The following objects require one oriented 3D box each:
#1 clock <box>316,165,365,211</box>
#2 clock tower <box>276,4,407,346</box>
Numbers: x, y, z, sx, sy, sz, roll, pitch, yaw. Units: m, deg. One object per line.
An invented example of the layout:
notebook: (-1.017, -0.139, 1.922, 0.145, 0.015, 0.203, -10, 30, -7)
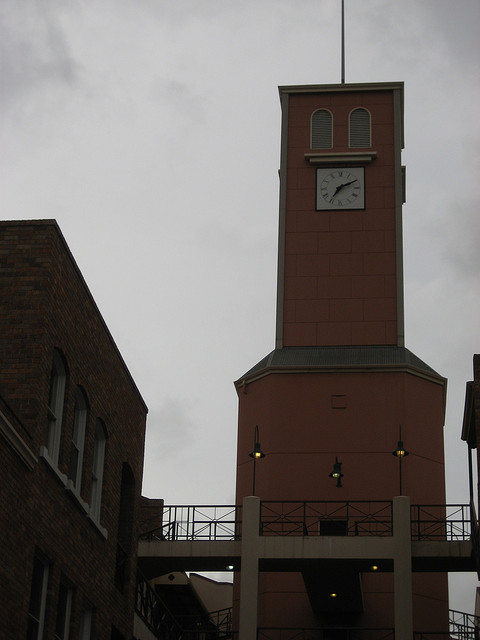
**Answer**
clock: (3.545, -4.930, 40.639, 1.718, 1.825, 0.209, -2, -25, 5)
clock tower: (3.545, -4.076, 40.475, 4.238, 10.614, 0.828, -2, -25, 6)
